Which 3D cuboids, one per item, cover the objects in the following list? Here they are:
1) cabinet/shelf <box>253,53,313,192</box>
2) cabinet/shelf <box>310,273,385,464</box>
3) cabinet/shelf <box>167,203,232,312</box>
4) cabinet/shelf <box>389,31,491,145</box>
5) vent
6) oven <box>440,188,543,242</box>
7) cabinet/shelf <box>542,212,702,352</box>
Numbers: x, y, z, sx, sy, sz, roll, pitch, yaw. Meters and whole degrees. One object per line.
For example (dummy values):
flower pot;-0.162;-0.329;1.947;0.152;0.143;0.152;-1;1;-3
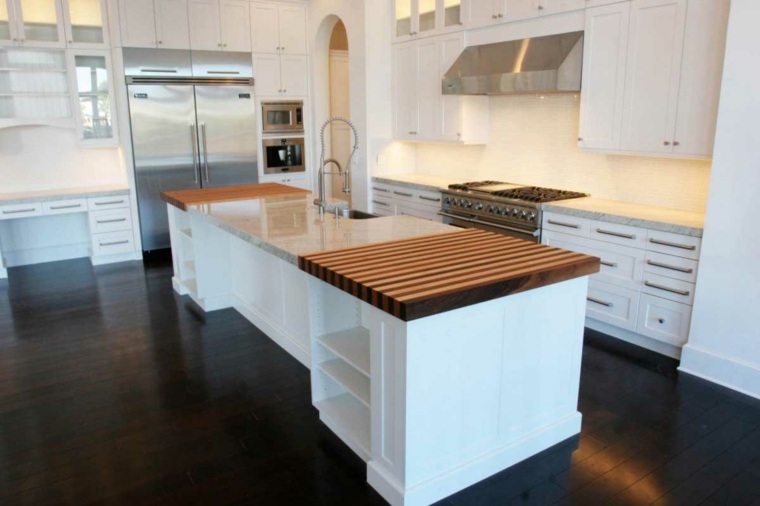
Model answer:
cabinet/shelf;-1.513;-2.068;8.279;1.027;2.140;0.370;-9;20;-20
cabinet/shelf;-0.247;0.785;3.709;0.462;1.129;0.775;-7;19;-14
cabinet/shelf;-1.912;0.049;5.618;0.369;0.987;1.023;-9;18;-35
cabinet/shelf;0.797;-2.095;6.604;0.569;1.207;1.437;-13;22;-33
vent;1.427;-2.014;5.764;1.592;0.548;0.413;7;16;35
oven;1.220;-0.368;6.073;0.519;0.571;0.906;-19;30;-40
cabinet/shelf;2.110;0.262;4.436;0.453;0.820;1.163;-8;16;-35
